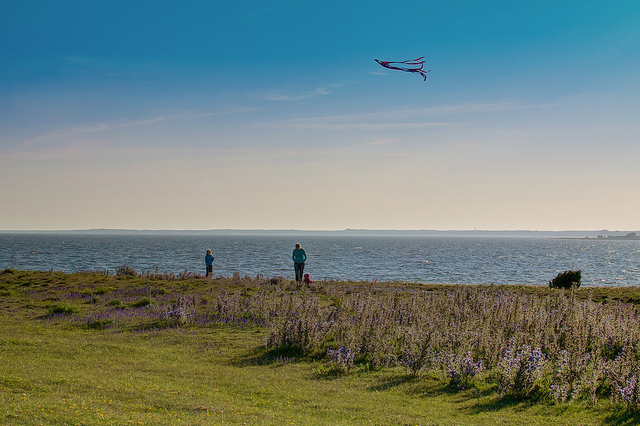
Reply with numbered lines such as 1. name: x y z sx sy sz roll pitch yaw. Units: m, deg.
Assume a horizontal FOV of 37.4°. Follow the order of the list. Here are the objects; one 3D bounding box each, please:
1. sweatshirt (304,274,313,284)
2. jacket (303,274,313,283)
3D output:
1. sweatshirt: -0.747 4.186 60.136 0.695 0.777 0.454 -1 4 -10
2. jacket: -0.730 4.183 60.133 0.601 0.685 0.405 -5 8 -9
